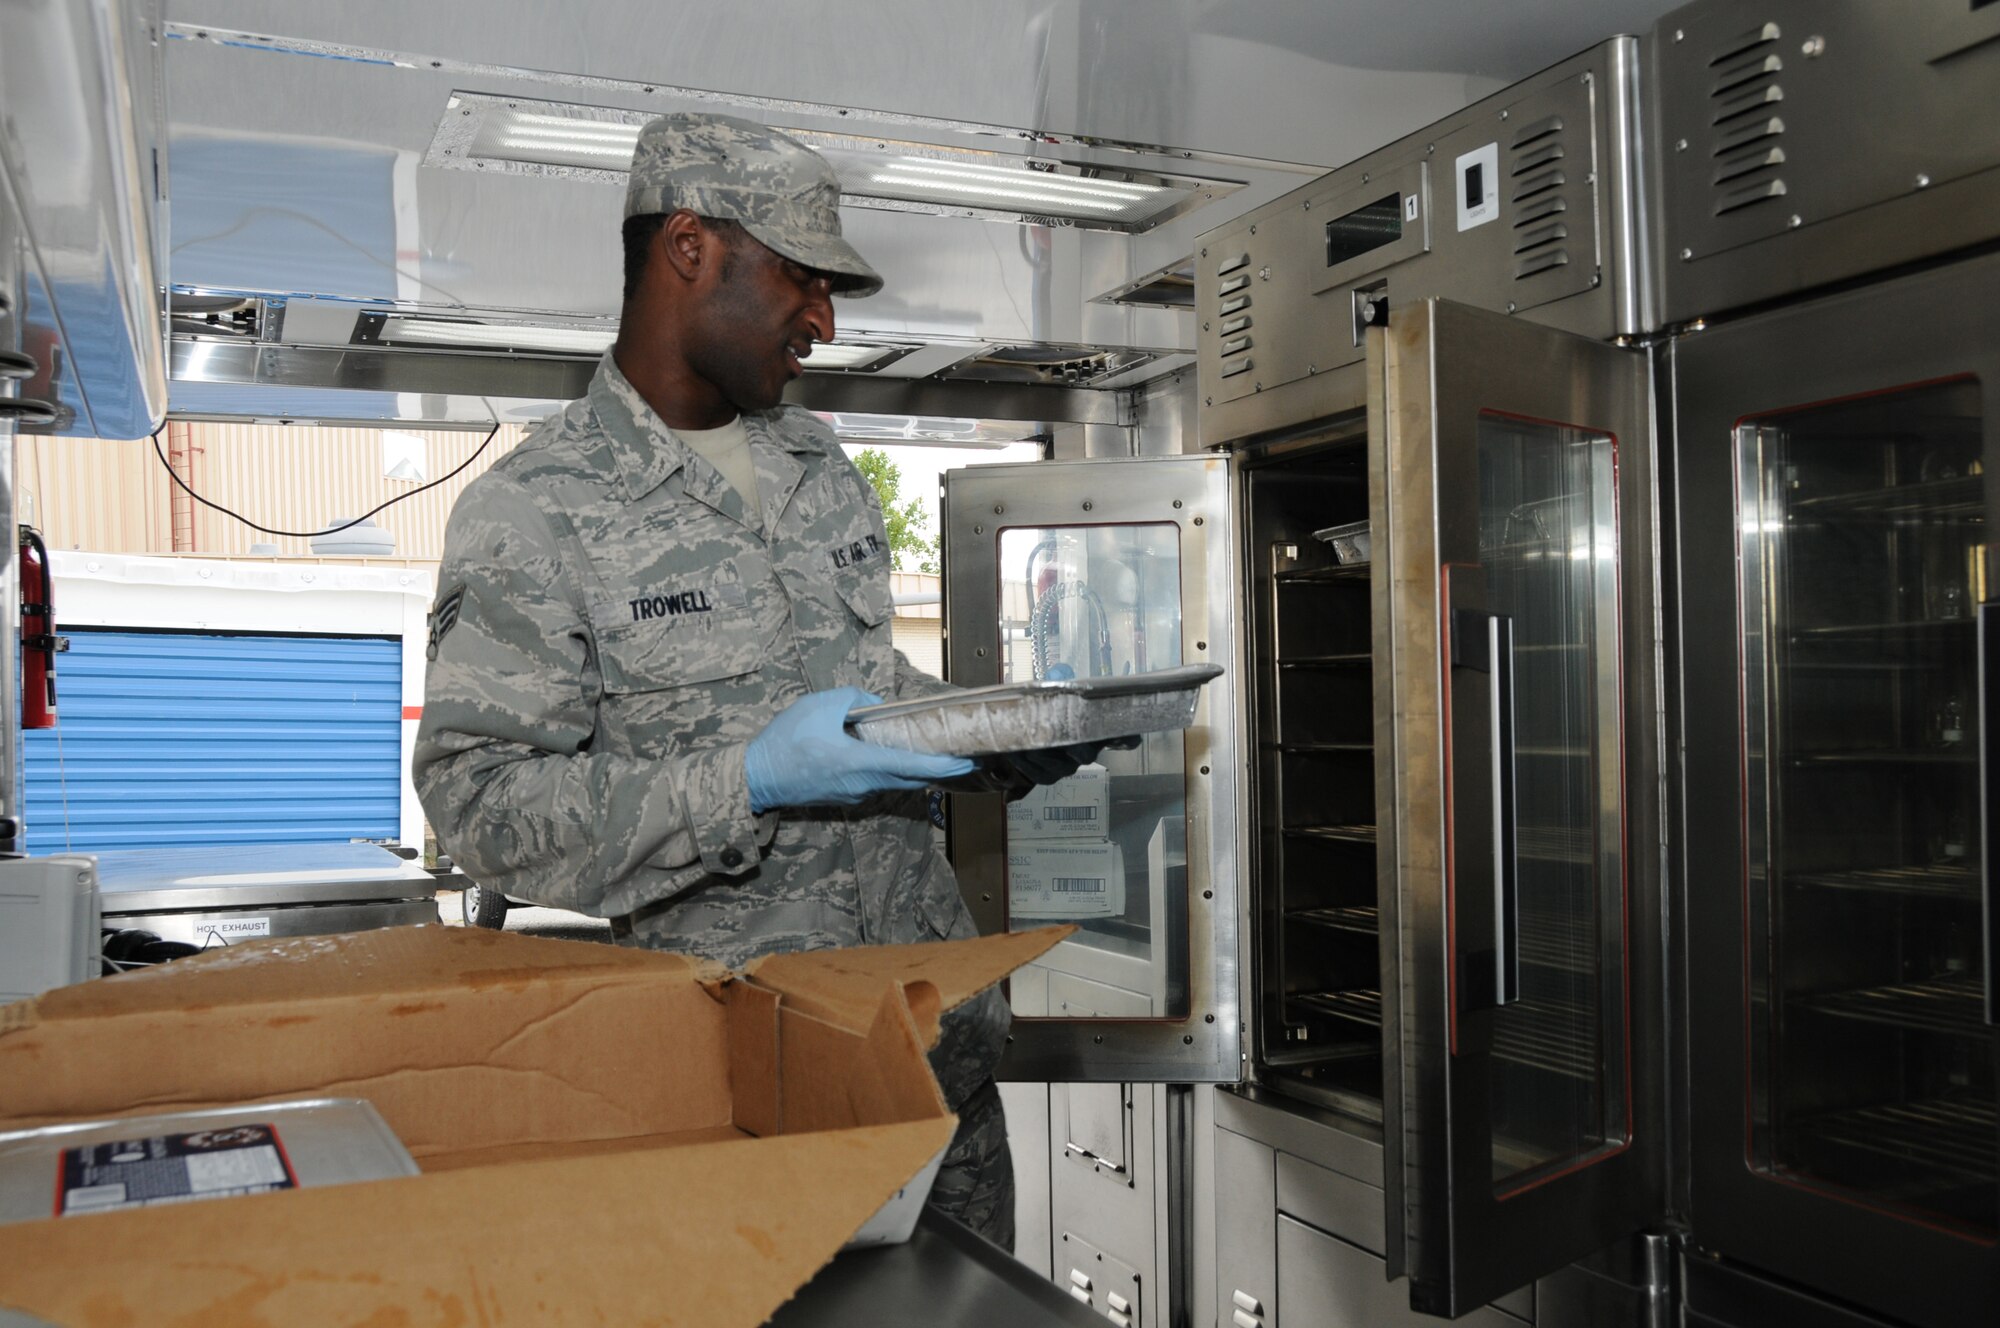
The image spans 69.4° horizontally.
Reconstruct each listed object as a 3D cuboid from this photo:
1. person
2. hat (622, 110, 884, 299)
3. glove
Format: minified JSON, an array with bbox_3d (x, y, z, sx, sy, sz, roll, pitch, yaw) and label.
[{"bbox_3d":[-0.405,0.021,2.325,0.852,1.862,0.636,0,2,14],"label":"person"},{"bbox_3d":[-0.398,-0.790,2.427,0.442,0.209,0.311,12,14,0],"label":"hat"},{"bbox_3d":[-0.224,0.137,2.082,0.242,0.101,0.187,-4,12,20],"label":"glove"}]
